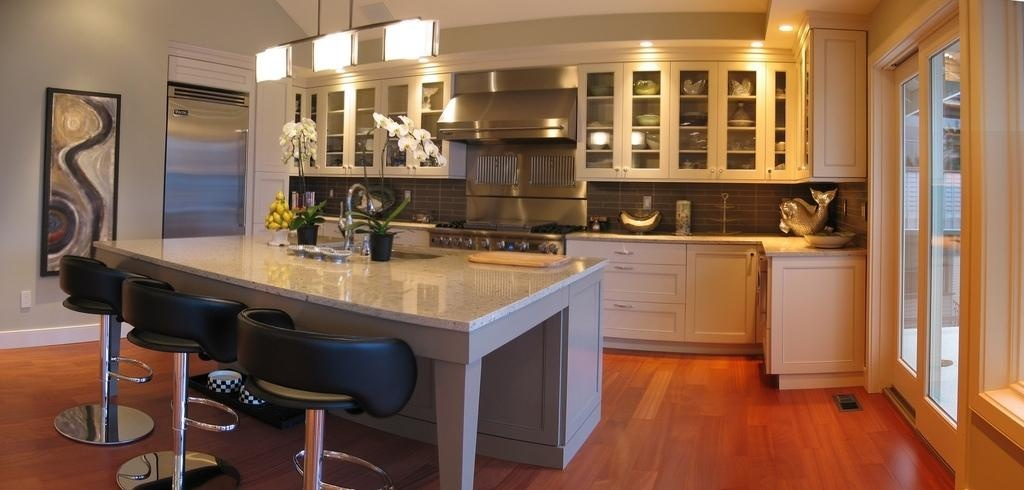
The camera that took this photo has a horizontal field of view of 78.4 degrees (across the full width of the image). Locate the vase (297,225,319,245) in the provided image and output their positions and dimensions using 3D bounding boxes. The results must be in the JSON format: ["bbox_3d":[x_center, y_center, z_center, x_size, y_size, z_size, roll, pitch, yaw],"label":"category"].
[{"bbox_3d":[-2.105,-0.106,6.516,0.247,0.149,0.227,0,0,-7],"label":"vase"}]

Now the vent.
[{"bbox_3d":[-0.048,-1.897,8.475,1.851,0.675,0.804,4,21,20],"label":"vent"}]

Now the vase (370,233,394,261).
[{"bbox_3d":[-1.265,0.013,6.088,0.323,0.230,0.278,0,-3,1],"label":"vase"}]

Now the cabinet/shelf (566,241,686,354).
[{"bbox_3d":[1.367,0.583,7.183,1.851,1.280,0.645,0,-2,12],"label":"cabinet/shelf"}]

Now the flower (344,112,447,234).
[{"bbox_3d":[-1.199,-0.660,6.301,1.128,1.085,0.955,-3,-2,-11],"label":"flower"}]

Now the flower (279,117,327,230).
[{"bbox_3d":[-2.193,-0.737,6.611,0.661,1.108,0.558,5,9,2],"label":"flower"}]

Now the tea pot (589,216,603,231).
[{"bbox_3d":[1.127,-0.278,8.347,0.264,0.188,0.121,0,-3,21],"label":"tea pot"}]
